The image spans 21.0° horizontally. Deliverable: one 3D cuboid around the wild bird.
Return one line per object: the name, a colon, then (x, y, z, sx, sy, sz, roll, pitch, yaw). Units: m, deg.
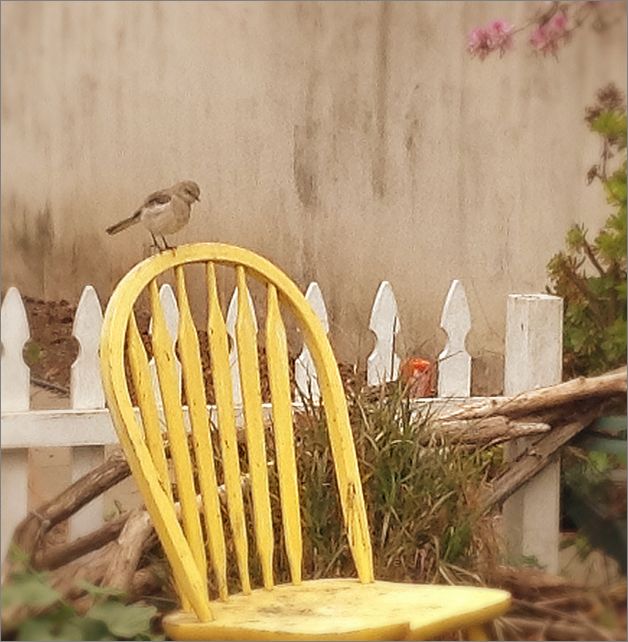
wild bird: (-0.588, -0.397, 6.254, 0.362, 0.287, 0.143, 8, 9, 23)
